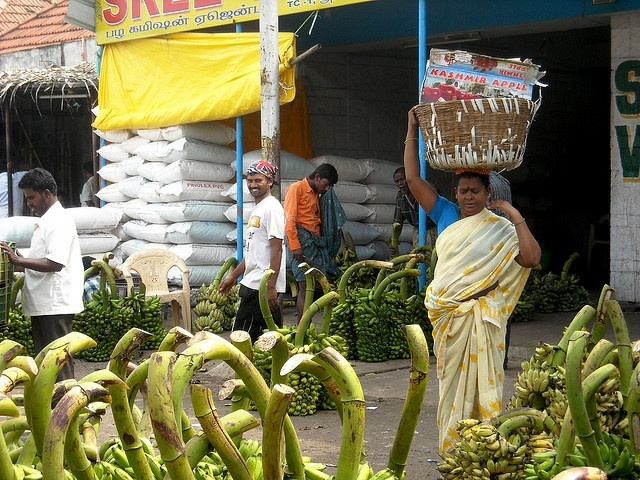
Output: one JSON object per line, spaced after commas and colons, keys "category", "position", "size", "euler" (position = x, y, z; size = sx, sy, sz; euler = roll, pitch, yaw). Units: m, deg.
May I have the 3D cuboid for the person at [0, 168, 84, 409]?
{"category": "person", "position": [-2.042, 0.176, 6.143], "size": [0.596, 1.413, 0.466], "euler": [-2, 6, -31]}

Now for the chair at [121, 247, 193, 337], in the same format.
{"category": "chair", "position": [-1.778, 0.620, 9.062], "size": [0.716, 0.920, 0.645], "euler": [-8, 5, -34]}
